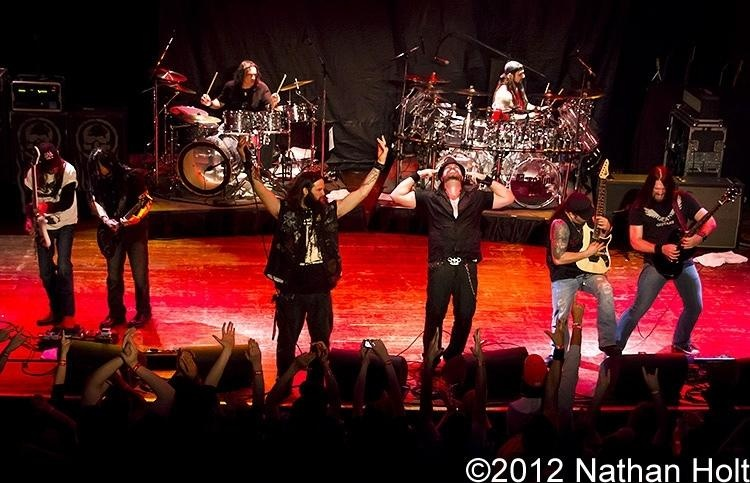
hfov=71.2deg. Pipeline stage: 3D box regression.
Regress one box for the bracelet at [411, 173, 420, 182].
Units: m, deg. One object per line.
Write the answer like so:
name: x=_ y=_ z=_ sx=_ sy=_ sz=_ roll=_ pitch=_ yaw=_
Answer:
bracelet: x=0.394 y=-0.628 z=5.155 sx=0.088 sy=0.083 sz=0.111 roll=-3 pitch=-32 yaw=0

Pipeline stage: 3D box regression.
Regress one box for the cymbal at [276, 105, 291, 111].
cymbal: x=-1.670 y=-2.427 z=9.503 sx=0.202 sy=0.048 sz=0.200 roll=-6 pitch=10 yaw=-39

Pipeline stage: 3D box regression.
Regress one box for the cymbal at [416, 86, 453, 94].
cymbal: x=1.055 y=-2.760 z=9.459 sx=0.545 sy=0.088 sz=0.511 roll=12 pitch=11 yaw=36

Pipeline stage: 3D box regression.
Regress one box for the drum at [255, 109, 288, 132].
drum: x=-1.810 y=-2.140 z=9.264 sx=0.178 sy=0.440 sz=0.632 roll=5 pitch=5 yaw=37

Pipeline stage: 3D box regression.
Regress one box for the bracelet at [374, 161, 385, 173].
bracelet: x=0.033 y=-0.654 z=4.592 sx=0.086 sy=0.060 sz=0.112 roll=31 pitch=1 yaw=-4

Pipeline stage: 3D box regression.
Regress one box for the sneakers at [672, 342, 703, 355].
sneakers: x=3.347 y=1.149 z=5.609 sx=0.340 sy=0.117 sz=0.234 roll=3 pitch=-1 yaw=-39

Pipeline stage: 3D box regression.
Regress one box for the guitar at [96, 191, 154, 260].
guitar: x=-2.758 y=-0.207 z=5.700 sx=0.861 sy=0.414 sz=0.110 roll=-32 pitch=24 yaw=9

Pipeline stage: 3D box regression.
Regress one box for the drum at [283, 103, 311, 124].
drum: x=-1.474 y=-2.421 z=9.828 sx=0.446 sy=0.181 sz=0.491 roll=-1 pitch=-12 yaw=3

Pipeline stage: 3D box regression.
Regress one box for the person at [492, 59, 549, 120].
person: x=2.681 y=-2.790 z=9.910 sx=0.864 sy=1.204 sz=0.856 roll=-30 pitch=38 yaw=-23

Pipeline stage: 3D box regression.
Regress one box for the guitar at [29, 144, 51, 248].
guitar: x=-3.551 y=-0.453 z=5.511 sx=0.132 sy=1.132 sz=0.162 roll=5 pitch=14 yaw=10

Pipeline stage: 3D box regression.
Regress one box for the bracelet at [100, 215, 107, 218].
bracelet: x=-2.878 y=-0.262 z=5.541 sx=0.033 sy=0.031 sz=0.062 roll=3 pitch=4 yaw=25

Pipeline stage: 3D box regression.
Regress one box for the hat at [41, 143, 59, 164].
hat: x=-3.427 y=-0.930 z=5.487 sx=0.169 sy=0.209 sz=0.190 roll=-1 pitch=5 yaw=-32

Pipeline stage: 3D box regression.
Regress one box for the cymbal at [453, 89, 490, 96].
cymbal: x=1.703 y=-2.625 z=9.170 sx=0.484 sy=0.098 sz=0.471 roll=-1 pitch=16 yaw=-6

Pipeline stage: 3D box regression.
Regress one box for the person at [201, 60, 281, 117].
person: x=-2.429 y=-2.576 z=9.578 sx=1.376 sy=1.274 sz=0.863 roll=7 pitch=18 yaw=-10

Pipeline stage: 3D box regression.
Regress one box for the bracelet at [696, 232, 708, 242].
bracelet: x=3.337 y=-0.056 z=5.346 sx=0.086 sy=0.042 sz=0.112 roll=22 pitch=-7 yaw=-4

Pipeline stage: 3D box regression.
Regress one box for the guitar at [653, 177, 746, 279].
guitar: x=3.445 y=-0.113 z=5.545 sx=1.207 sy=0.961 sz=0.401 roll=-2 pitch=5 yaw=-38

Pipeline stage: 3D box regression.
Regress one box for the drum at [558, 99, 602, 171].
drum: x=3.730 y=-1.980 z=9.598 sx=1.319 sy=1.311 sz=0.591 roll=-2 pitch=6 yaw=-45

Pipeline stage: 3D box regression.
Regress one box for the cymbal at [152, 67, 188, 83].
cymbal: x=-3.644 y=-2.973 z=9.322 sx=0.459 sy=0.282 sz=0.561 roll=1 pitch=4 yaw=-14

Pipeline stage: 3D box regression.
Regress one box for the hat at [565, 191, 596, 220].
hat: x=2.060 y=-0.355 z=5.198 sx=0.306 sy=0.161 sz=0.227 roll=8 pitch=36 yaw=-8

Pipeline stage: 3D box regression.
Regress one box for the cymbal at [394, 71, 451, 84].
cymbal: x=1.012 y=-3.328 z=10.594 sx=0.787 sy=0.185 sz=0.782 roll=11 pitch=14 yaw=23

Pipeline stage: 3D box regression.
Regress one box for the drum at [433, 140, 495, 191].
drum: x=1.656 y=-1.247 z=9.264 sx=1.276 sy=0.635 sz=0.950 roll=1 pitch=23 yaw=-2

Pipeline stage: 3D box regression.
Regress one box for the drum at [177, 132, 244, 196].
drum: x=-2.845 y=-1.271 z=8.862 sx=1.030 sy=1.005 sz=0.596 roll=1 pitch=4 yaw=-14
